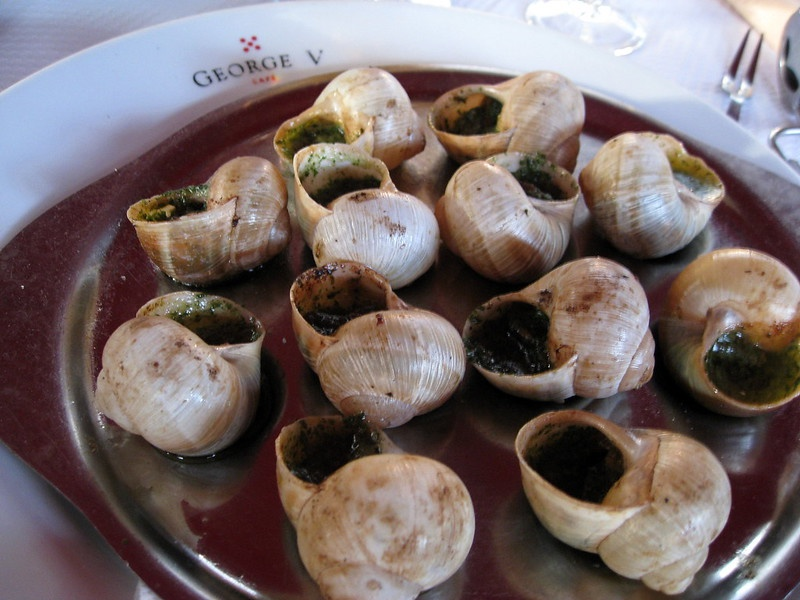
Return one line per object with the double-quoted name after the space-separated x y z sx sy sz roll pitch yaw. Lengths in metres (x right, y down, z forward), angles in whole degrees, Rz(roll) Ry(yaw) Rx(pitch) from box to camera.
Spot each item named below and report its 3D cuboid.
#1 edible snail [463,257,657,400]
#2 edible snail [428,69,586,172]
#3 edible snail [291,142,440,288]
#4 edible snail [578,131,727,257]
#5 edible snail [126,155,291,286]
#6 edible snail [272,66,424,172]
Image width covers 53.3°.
0.214 0.058 1.084 0.218 0.125 0.185 9 70 10 "edible snail"
0.166 -0.268 1.260 0.195 0.105 0.168 14 72 20 "edible snail"
-0.063 -0.119 1.139 0.168 0.120 0.234 -17 64 -27 "edible snail"
0.354 -0.144 1.193 0.191 0.131 0.184 -14 83 -11 "edible snail"
-0.282 -0.120 1.166 0.221 0.153 0.147 0 41 -20 "edible snail"
-0.070 -0.276 1.211 0.184 0.099 0.164 -1 86 -1 "edible snail"
